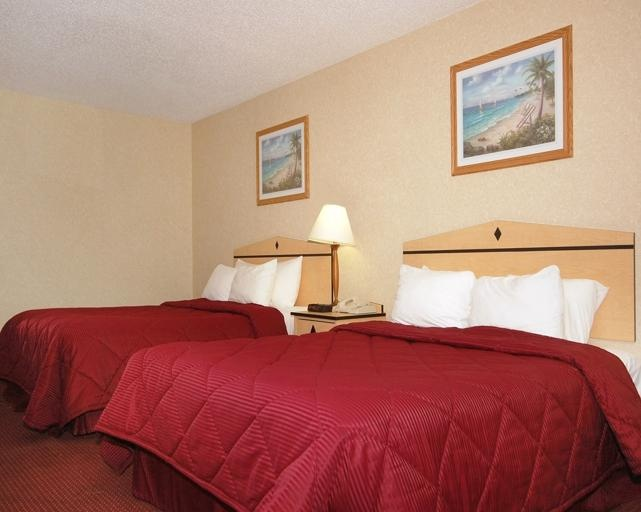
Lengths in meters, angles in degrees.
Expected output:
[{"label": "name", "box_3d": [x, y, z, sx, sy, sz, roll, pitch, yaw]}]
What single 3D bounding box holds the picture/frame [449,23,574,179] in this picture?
[{"label": "picture/frame", "box_3d": [1.360, -1.079, 3.284, 0.043, 1.212, 1.061, 4, -6, -44]}]
